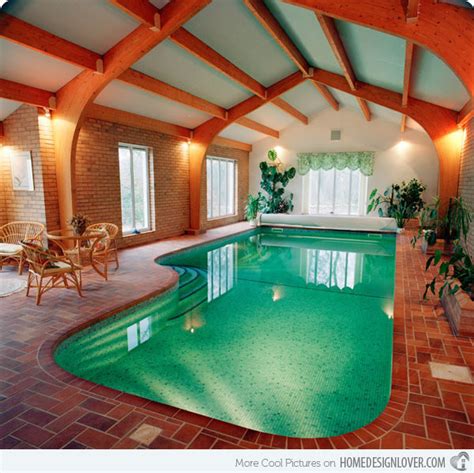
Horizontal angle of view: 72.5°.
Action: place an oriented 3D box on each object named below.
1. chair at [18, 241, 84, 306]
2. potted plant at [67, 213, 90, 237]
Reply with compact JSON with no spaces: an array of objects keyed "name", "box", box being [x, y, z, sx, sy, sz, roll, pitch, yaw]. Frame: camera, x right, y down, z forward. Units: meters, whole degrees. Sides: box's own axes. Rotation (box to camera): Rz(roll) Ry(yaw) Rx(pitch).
[{"name":"chair","box":[-2.661,0.418,4.651,0.683,0.827,1.242,-7,11,-33]},{"name":"potted plant","box":[-2.507,-0.208,5.314,0.391,0.395,0.359,-1,4,-4]}]
